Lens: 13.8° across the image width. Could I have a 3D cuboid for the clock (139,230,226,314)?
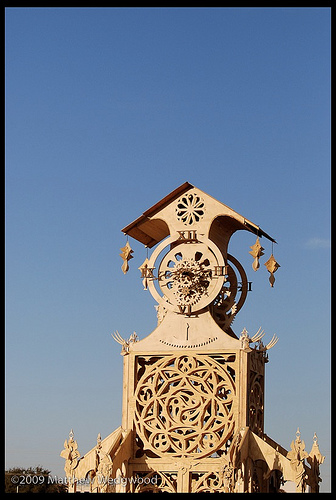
[{"bbox_3d":[0.377,0.419,25.960,1.353,1.761,0.196,2,-20,8],"label":"clock"}]
